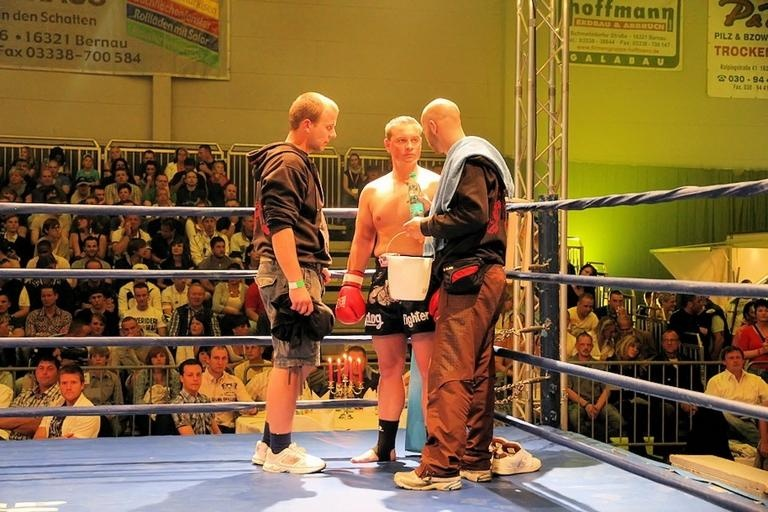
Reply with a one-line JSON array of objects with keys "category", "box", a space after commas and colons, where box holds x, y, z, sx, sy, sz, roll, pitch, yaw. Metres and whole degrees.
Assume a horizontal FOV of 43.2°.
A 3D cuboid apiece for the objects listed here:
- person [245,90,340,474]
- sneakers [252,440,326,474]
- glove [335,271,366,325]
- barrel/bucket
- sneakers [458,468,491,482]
[{"category": "person", "box": [-0.797, 0.227, 8.331, 0.750, 3.166, 0.824, -1, 12, -2]}, {"category": "sneakers", "box": [-0.823, 1.746, 8.407, 0.602, 0.256, 0.247, 1, -6, 1]}, {"category": "glove", "box": [-0.276, 0.388, 8.721, 0.293, 0.436, 0.175, 0, -12, 4]}, {"category": "barrel/bucket", "box": [0.245, 0.094, 8.478, 0.636, 0.804, 0.511, 3, -5, -2]}, {"category": "sneakers", "box": [0.792, 1.858, 8.246, 0.213, 0.096, 0.109, 4, -5, 0]}]
